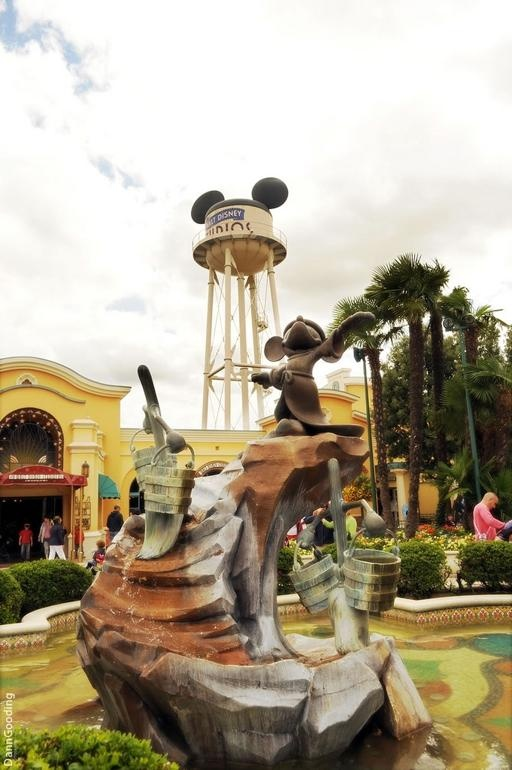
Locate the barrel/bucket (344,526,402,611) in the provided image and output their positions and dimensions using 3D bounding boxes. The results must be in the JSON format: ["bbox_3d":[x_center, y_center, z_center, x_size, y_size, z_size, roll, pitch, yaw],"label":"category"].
[{"bbox_3d":[0.945,1.634,4.407,0.458,0.543,0.532,-4,-6,10],"label":"barrel/bucket"}]

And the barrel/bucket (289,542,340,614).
[{"bbox_3d":[0.516,1.744,4.771,0.427,0.579,0.354,-3,-6,2],"label":"barrel/bucket"}]

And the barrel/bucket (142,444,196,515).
[{"bbox_3d":[-0.790,0.909,4.799,0.466,0.455,0.418,0,-8,27],"label":"barrel/bucket"}]
